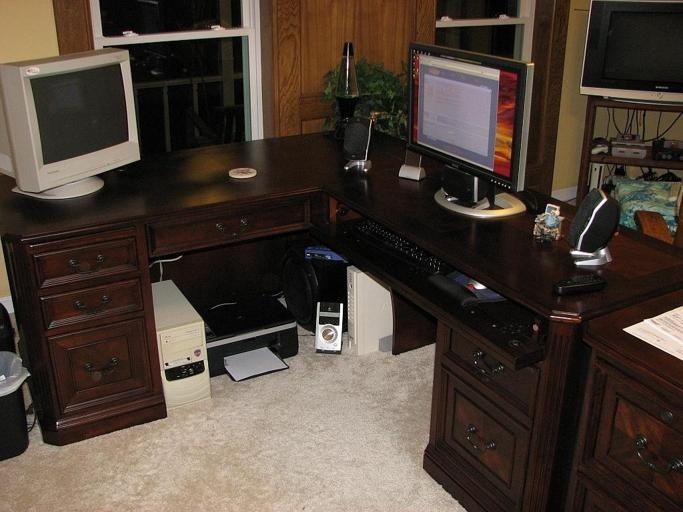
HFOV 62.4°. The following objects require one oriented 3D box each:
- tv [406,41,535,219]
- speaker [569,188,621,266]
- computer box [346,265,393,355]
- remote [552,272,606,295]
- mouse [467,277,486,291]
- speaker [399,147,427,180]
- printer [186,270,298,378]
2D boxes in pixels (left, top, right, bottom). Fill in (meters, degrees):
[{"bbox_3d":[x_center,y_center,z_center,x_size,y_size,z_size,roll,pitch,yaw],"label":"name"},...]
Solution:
[{"bbox_3d":[0.529,-0.511,2.411,0.365,0.659,0.708,-21,39,-28],"label":"tv"},{"bbox_3d":[0.923,-0.110,2.053,0.169,0.250,0.189,3,25,10],"label":"speaker"},{"bbox_3d":[0.155,0.267,3.226,0.238,0.400,0.239,-2,7,-19],"label":"computer box"},{"bbox_3d":[0.804,0.083,1.911,0.156,0.041,0.081,-8,25,-11],"label":"remote"},{"bbox_3d":[0.524,0.113,2.196,0.059,0.044,0.044,41,-1,13],"label":"mouse"},{"bbox_3d":[0.358,-0.451,2.787,0.111,0.197,0.109,21,40,30],"label":"speaker"},{"bbox_3d":[-0.550,0.353,3.185,0.461,0.134,0.456,-10,31,-22],"label":"printer"}]
